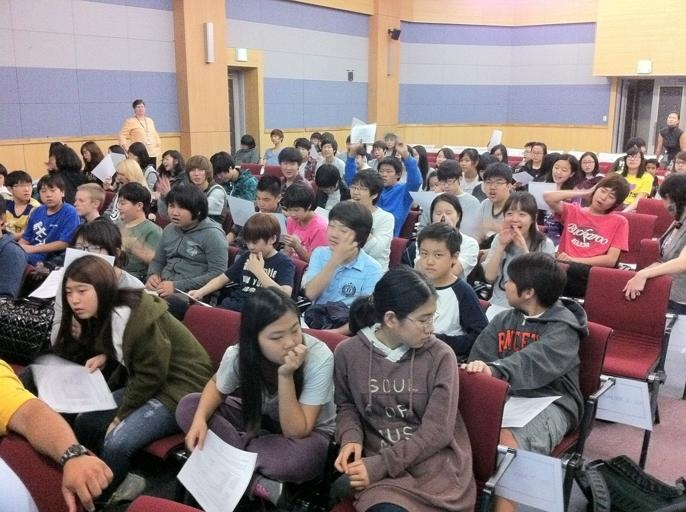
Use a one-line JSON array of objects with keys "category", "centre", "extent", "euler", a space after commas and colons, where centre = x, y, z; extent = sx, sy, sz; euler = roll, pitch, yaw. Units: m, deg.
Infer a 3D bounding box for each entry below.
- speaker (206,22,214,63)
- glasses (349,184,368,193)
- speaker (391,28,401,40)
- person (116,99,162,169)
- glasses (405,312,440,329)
[{"category": "speaker", "centre": [-2.759, -4.446, 10.258], "extent": [0.168, 0.788, 0.243], "euler": [-1, 15, -5]}, {"category": "glasses", "centre": [0.145, -0.592, 4.296], "extent": [0.130, 0.044, 0.135], "euler": [5, 0, 32]}, {"category": "speaker", "centre": [1.563, -6.524, 14.441], "extent": [0.270, 0.279, 0.320], "euler": [0, 16, -1]}, {"category": "person", "centre": [-3.688, -1.995, 9.144], "extent": [0.678, 1.695, 0.474], "euler": [-17, 34, -38]}, {"category": "glasses", "centre": [0.325, 0.266, 2.028], "extent": [0.136, 0.049, 0.137], "euler": [16, 13, 42]}]
